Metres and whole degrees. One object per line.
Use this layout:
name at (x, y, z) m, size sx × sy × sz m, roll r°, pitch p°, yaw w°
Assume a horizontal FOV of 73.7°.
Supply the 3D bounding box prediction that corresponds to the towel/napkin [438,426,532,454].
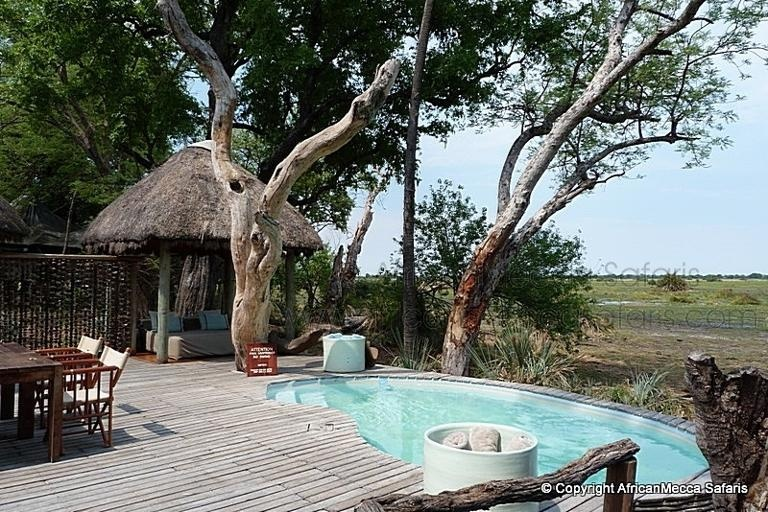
towel/napkin at (1.221, 2.258, 6.227) m, size 1.323 × 0.239 × 0.626 m, roll 3°, pitch -3°, yaw -6°

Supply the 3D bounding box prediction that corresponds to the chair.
chair at (-4.681, 2.114, 8.086) m, size 1.644 × 2.084 × 1.609 m, roll 4°, pitch -6°, yaw -34°
